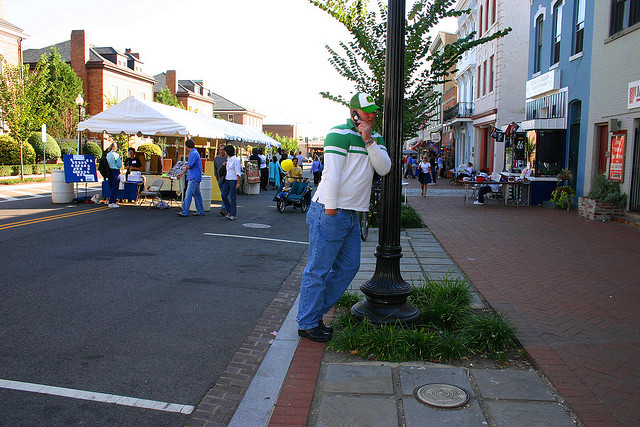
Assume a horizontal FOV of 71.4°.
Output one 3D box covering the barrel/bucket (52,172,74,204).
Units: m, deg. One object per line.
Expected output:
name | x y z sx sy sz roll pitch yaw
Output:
barrel/bucket | -9.531 -1.016 16.533 0.697 1.242 0.641 0 10 0

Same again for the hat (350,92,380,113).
hat | 0.510 -1.276 5.120 0.300 0.170 0.206 4 18 13

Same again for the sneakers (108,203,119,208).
sneakers | -7.403 -0.282 16.027 0.400 0.174 0.172 0 15 -25

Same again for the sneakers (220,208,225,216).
sneakers | -3.164 -0.030 14.606 0.121 0.229 0.332 -3 -13 -5

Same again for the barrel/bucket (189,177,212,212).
barrel/bucket | -4.272 -0.722 16.029 0.719 1.152 0.743 -2 3 0

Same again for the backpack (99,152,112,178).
backpack | -7.661 -1.695 15.924 0.274 0.775 0.558 2 7 -15

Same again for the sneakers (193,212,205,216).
sneakers | -4.037 0.024 14.756 0.378 0.158 0.131 2 3 14

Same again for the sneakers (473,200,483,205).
sneakers | 6.931 -0.482 19.712 0.430 0.191 0.172 -1 -1 32

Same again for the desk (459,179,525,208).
desk | 7.913 -1.016 20.105 2.311 1.292 3.207 3 10 11

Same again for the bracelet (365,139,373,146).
bracelet | 0.548 -0.813 5.071 0.028 0.067 0.058 43 1 -15

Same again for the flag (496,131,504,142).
flag | 10.214 -4.434 25.473 0.585 0.682 0.072 0 -4 8

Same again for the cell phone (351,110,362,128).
cell phone | 0.411 -1.110 5.125 0.057 0.166 0.113 -11 13 -39

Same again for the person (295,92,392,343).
person | 0.250 0.053 5.242 1.028 2.894 0.342 -3 10 -20

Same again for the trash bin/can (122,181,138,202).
trash bin/can | -7.131 -0.842 16.698 0.592 0.457 0.598 1 3 -20

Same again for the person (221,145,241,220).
person | -2.866 -1.037 14.422 0.594 2.344 1.390 -1 10 -11

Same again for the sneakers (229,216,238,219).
sneakers | -2.756 0.124 14.071 0.276 0.097 0.277 -1 10 -10

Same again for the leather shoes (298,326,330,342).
leather shoes | -0.064 1.426 5.315 0.292 0.124 0.164 -1 1 21
